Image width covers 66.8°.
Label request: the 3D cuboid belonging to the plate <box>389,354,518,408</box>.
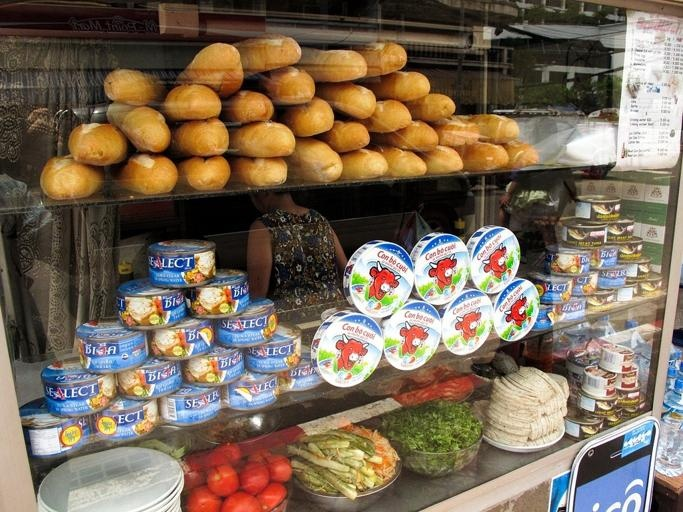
[{"bbox_3d":[0.500,0.558,2.279,0.425,0.036,0.255,-10,13,-28],"label":"plate"}]

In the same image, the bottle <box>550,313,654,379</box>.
[{"bbox_3d":[1.265,0.425,2.541,0.371,0.074,0.353,-6,23,3],"label":"bottle"}]

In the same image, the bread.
[{"bbox_3d":[-0.219,-0.434,1.607,1.351,0.465,0.157,-9,12,-18],"label":"bread"}]

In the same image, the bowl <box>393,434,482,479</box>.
[{"bbox_3d":[0.388,0.816,2.109,0.217,0.062,0.195,-1,4,8],"label":"bowl"}]
